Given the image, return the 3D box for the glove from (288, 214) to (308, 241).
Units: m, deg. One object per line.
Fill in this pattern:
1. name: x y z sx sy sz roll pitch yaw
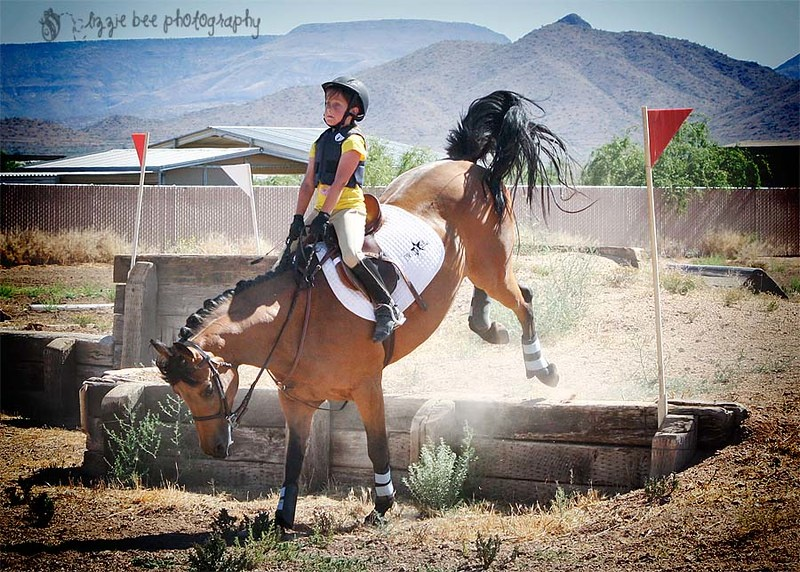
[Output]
1. glove: -1.104 -0.618 8.775 0.092 0.260 0.199 13 14 -14

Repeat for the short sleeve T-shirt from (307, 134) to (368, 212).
1. short sleeve T-shirt: -0.693 -1.271 9.023 0.748 0.954 0.538 -11 23 1

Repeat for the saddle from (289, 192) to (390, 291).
1. saddle: -0.572 -0.515 8.763 0.808 0.470 1.097 14 30 31

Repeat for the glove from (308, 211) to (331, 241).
1. glove: -0.866 -0.629 8.685 0.215 0.298 0.098 10 0 36

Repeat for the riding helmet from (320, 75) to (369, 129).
1. riding helmet: -0.604 -2.261 9.157 0.466 0.497 0.576 9 -27 -4

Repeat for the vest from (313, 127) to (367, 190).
1. vest: -0.661 -1.382 8.868 0.645 0.832 0.457 9 5 43
